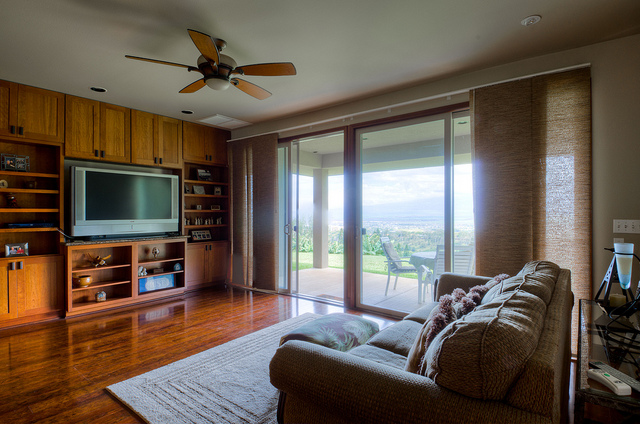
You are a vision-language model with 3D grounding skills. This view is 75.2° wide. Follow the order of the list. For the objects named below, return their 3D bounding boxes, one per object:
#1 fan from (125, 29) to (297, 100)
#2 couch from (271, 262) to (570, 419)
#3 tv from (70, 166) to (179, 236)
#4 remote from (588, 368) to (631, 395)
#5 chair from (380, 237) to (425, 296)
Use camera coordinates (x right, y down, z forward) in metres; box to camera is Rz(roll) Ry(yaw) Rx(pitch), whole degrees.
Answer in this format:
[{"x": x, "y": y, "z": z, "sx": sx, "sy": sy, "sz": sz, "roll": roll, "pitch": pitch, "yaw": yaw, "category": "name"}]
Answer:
[{"x": -0.936, "y": -1.472, "z": 4.259, "sx": 0.851, "sy": 0.266, "sz": 0.919, "roll": 10, "pitch": -15, "yaw": -43, "category": "fan"}, {"x": 0.784, "y": 0.892, "z": 2.889, "sx": 2.008, "sy": 0.799, "sz": 0.870, "roll": -1, "pitch": 1, "yaw": 9, "category": "couch"}, {"x": -2.812, "y": -0.157, "z": 5.866, "sx": 0.125, "sy": 0.711, "sz": 1.225, "roll": -3, "pitch": -3, "yaw": 40, "category": "tv"}, {"x": 1.825, "y": 1.071, "z": 2.633, "sx": 0.109, "sy": 0.048, "sz": 0.173, "roll": 5, "pitch": 7, "yaw": -16, "category": "remote"}, {"x": 1.102, "y": 0.719, "z": 5.483, "sx": 0.557, "sy": 0.632, "sz": 0.462, "roll": 1, "pitch": 0, "yaw": 15, "category": "chair"}]
